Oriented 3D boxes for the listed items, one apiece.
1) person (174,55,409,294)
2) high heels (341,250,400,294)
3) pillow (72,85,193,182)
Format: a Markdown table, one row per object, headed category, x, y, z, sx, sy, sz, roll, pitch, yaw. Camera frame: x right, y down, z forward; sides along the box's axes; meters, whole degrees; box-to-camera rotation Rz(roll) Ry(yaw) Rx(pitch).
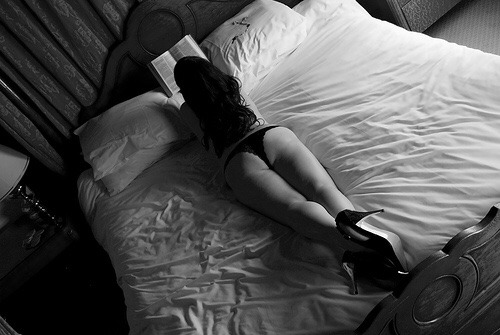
| category | x | y | z | sx | sy | sz | roll | pitch | yaw |
| --- | --- | --- | --- | --- | --- | --- | --- | --- | --- |
| person | -0.133 | -0.073 | 2.528 | 0.564 | 0.864 | 2.426 | -42 | 55 | 9 |
| high heels | 0.563 | 0.476 | 1.835 | 0.336 | 0.113 | 0.133 | 18 | 14 | 23 |
| pillow | -0.881 | -0.247 | 3.053 | 0.790 | 0.225 | 0.577 | -27 | 71 | 0 |
